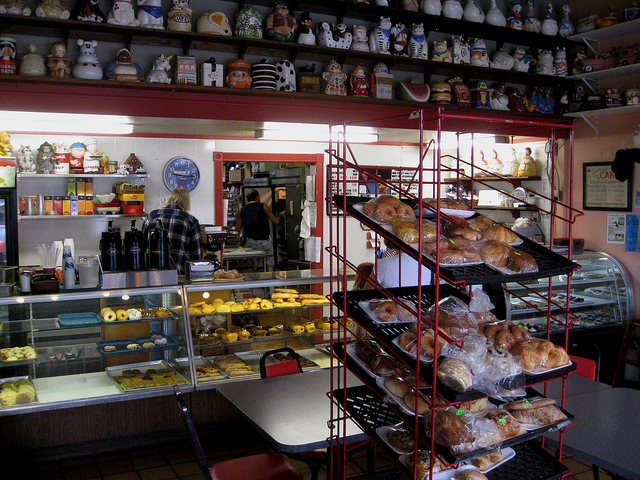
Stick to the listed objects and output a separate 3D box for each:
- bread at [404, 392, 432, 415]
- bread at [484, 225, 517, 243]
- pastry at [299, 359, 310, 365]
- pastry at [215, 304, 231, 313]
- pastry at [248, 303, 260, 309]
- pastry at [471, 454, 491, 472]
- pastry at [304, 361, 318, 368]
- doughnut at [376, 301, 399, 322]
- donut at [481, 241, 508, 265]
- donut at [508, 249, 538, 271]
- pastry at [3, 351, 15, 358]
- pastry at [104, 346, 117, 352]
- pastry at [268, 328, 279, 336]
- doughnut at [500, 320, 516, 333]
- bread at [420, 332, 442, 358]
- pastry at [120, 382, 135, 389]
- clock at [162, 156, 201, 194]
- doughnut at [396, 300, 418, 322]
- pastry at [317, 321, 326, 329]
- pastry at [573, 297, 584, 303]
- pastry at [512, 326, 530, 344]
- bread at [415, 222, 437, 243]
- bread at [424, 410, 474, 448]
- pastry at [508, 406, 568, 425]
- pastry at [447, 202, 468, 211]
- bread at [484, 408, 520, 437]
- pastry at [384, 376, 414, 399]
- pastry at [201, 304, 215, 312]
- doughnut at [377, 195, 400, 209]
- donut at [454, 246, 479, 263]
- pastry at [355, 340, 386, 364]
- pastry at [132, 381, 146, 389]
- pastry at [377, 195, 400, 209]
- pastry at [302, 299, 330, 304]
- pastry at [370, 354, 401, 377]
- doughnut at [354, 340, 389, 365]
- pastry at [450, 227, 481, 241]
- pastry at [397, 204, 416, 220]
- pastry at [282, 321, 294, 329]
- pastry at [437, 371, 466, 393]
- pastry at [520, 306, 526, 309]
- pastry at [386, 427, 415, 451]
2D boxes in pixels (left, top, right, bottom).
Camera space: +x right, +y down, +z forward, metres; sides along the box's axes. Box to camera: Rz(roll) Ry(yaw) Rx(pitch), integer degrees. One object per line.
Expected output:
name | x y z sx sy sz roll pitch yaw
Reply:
bread | 0.357 0.601 1.906 0.090 0.043 0.089 17 1 -34
bread | 0.691 -0.018 1.983 0.078 0.032 0.076 -5 12 -31
pastry | -0.136 0.996 4.241 0.062 0.015 0.063 -3 6 -41
pastry | -0.772 0.545 4.100 0.127 0.055 0.111 -7 8 -18
pastry | -0.542 0.546 4.228 0.096 0.045 0.047 -7 8 -18
pastry | 0.611 0.839 1.951 0.057 0.023 0.079 -10 40 -3
pastry | -0.074 1.010 4.191 0.108 0.017 0.119 -5 8 -5
doughnut | 0.263 0.282 2.006 0.087 0.069 0.046 -4 8 5
donut | 0.634 0.049 1.878 0.090 0.072 0.072 -2 8 19
donut | 0.726 0.076 1.852 0.096 0.073 0.093 -1 9 24
pastry | -2.104 0.775 3.498 0.040 0.014 0.042 -1 7 -40
pastry | -1.525 0.794 3.761 0.058 0.019 0.041 6 4 26
pastry | -0.385 0.762 4.297 0.090 0.049 0.059 -5 8 -8
doughnut | 0.737 0.338 2.023 0.044 0.014 0.042 -9 13 -31
bread | 0.383 0.377 1.845 0.079 0.062 0.085 -40 -8 22
pastry | -1.355 1.030 3.649 0.086 0.032 0.069 -6 8 -17
clock | -1.692 -0.787 6.235 0.596 0.628 0.097 -1 -1 -27
doughnut | 0.334 0.291 2.011 0.082 0.061 0.082 36 1 26
pastry | 0.010 0.731 4.454 0.062 0.051 0.061 0 3 -6
pastry | 2.592 0.605 5.161 0.058 0.025 0.069 -1 9 7
pastry | 0.769 0.361 1.978 0.053 0.025 0.053 -1 6 20
bread | 0.399 -0.024 1.912 0.069 0.043 0.077 1 9 2
bread | 0.473 0.673 1.886 0.118 0.111 0.138 3 1 1
pastry | 0.845 0.679 1.998 0.117 0.029 0.095 0 -1 -12
pastry | 0.568 -0.134 2.138 0.069 0.028 0.109 1 9 30
bread | 0.691 0.690 1.952 0.089 0.028 0.088 22 29 7
pastry | 0.292 0.556 1.964 0.069 0.027 0.094 -19 26 -40
pastry | -0.872 0.532 4.030 0.098 0.053 0.077 -6 8 -16
doughnut | 0.270 -0.151 2.022 0.064 0.033 0.062 4 5 -4
donut | 0.523 0.053 1.850 0.061 0.021 0.059 1 40 -5
pastry | 0.199 0.453 2.121 0.107 0.035 0.107 20 20 13
pastry | -1.288 1.030 3.686 0.042 0.012 0.057 2 9 -26
pastry | 0.273 -0.147 2.022 0.056 0.035 0.064 4 5 -7
pastry | -0.043 0.525 4.395 0.115 0.026 0.114 1 -2 22
pastry | 0.256 0.497 2.030 0.081 0.034 0.095 -21 41 -20
doughnut | 0.210 0.455 2.120 0.105 0.033 0.104 19 9 -16
pastry | 0.554 -0.012 1.953 0.068 0.019 0.060 6 5 -21
pastry | 0.336 -0.104 2.002 0.071 0.059 0.093 -4 8 5
pastry | -0.275 0.722 4.394 0.079 0.058 0.063 -3 8 6
pastry | 0.458 0.484 1.786 0.069 0.016 0.068 22 -2 -8
pastry | 1.937 0.653 4.944 0.054 0.012 0.044 -4 8 2
pastry | 0.310 0.758 1.973 0.074 0.021 0.073 -2 11 -25
